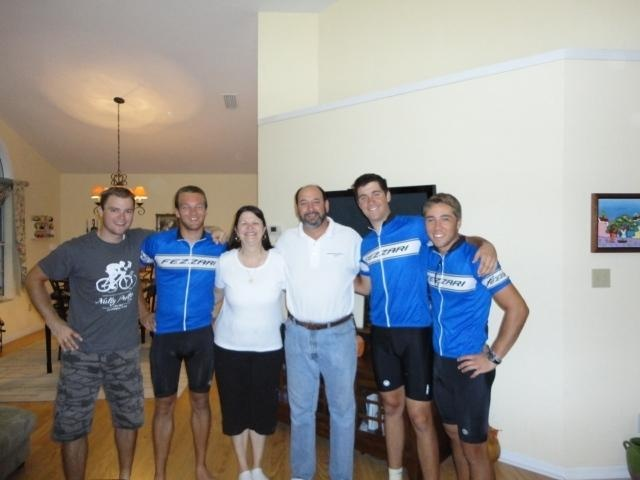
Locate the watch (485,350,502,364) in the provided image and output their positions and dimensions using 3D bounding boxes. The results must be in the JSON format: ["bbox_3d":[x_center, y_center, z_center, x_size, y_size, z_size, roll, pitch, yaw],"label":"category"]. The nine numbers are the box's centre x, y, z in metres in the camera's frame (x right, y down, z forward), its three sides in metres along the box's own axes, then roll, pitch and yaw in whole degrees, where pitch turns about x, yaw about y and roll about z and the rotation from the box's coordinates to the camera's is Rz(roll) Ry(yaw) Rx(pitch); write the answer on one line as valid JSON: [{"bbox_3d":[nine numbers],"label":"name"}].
[{"bbox_3d":[1.172,0.797,3.507,0.086,0.091,0.086,16,8,-7],"label":"watch"}]

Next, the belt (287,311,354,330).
[{"bbox_3d":[-0.003,0.600,3.778,0.465,0.099,0.111,0,2,1],"label":"belt"}]

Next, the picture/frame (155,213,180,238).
[{"bbox_3d":[-1.995,-0.207,6.775,0.403,0.435,0.055,-1,-9,6],"label":"picture/frame"}]
